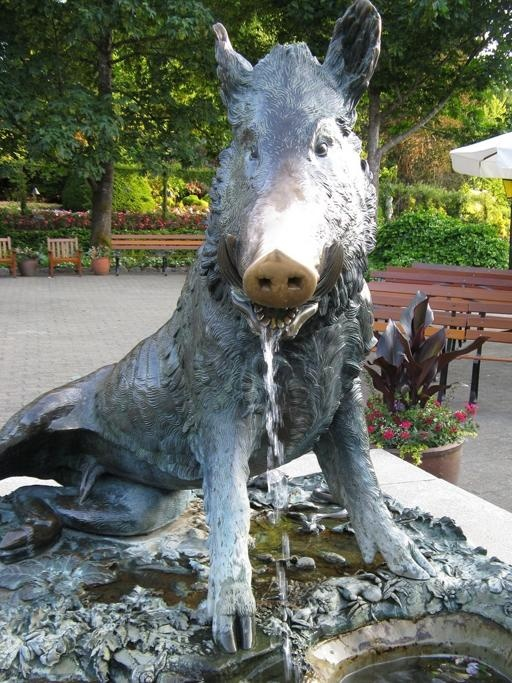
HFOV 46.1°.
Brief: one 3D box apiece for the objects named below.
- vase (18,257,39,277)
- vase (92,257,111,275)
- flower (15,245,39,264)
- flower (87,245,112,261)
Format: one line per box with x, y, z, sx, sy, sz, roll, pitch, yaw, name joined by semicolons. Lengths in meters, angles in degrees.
-7.031;-2.312;18.710;0.652;0.567;0.592;0;0;0;vase
-4.916;-2.453;19.246;0.626;0.554;0.595;5;15;5;vase
-7.407;-2.824;19.344;0.942;0.560;0.865;-4;0;-9;flower
-5.025;-2.870;19.294;0.619;0.438;0.591;-14;11;-18;flower
